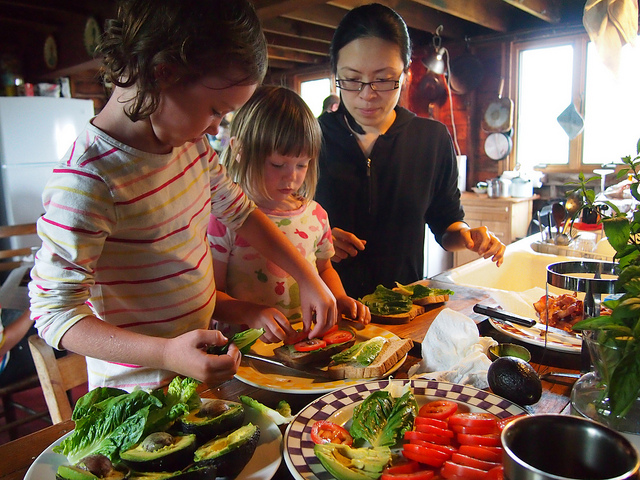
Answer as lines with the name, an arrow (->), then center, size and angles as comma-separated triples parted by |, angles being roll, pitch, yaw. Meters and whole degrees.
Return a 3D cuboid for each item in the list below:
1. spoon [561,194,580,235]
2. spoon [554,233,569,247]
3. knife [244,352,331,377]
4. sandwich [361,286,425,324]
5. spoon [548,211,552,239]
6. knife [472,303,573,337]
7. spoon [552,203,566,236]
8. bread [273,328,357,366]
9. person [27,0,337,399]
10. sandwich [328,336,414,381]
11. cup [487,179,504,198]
spoon -> 1.272, -0.119, 2.356 | 0.064, 0.042, 0.290 | 19, 53, 19
spoon -> 1.261, 0.003, 2.425 | 0.068, 0.061, 0.062 | 9, -21, -30
knife -> -0.077, 0.324, 1.197 | 0.286, 0.012, 0.036 | 9, 17, 26
sandwich -> 0.231, 0.213, 1.522 | 0.129, 0.036, 0.121 | -1, 19, -1
spoon -> 1.208, -0.082, 2.438 | 0.022, 0.142, 0.019 | -8, 6, -35
knife -> 0.589, 0.236, 1.341 | 0.328, 0.025, 0.044 | 17, 32, 36
spoon -> 1.249, -0.126, 2.419 | 0.046, 0.207, 0.030 | 4, 9, 36
bread -> -0.015, 0.285, 1.239 | 0.134, 0.028, 0.078 | -5, 9, -24
person -> -0.298, -0.132, 1.163 | 0.437, 0.823, 0.645 | 5, 6, 35
sandwich -> 0.129, 0.298, 1.186 | 0.099, 0.033, 0.162 | 8, 14, 34
cup -> 1.675, -0.503, 4.586 | 0.212, 0.192, 0.119 | -1, 6, -23
